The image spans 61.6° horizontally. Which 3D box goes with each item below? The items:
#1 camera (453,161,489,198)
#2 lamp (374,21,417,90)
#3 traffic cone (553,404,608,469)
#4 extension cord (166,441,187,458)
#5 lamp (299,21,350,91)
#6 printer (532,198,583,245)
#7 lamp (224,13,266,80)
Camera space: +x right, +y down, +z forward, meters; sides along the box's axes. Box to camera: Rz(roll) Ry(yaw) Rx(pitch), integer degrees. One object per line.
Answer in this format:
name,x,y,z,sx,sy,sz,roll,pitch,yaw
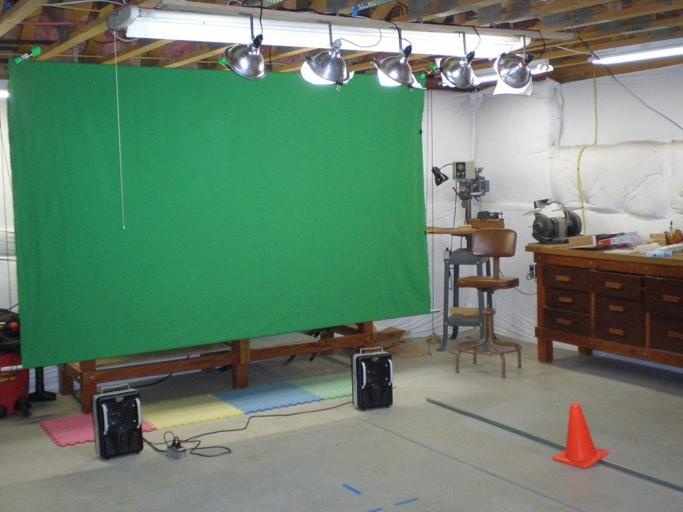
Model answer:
camera,1.790,-1.089,8.075,0.521,0.416,0.311,-2,11,-7
lamp,0.509,-1.709,4.901,0.433,0.509,0.394,7,11,14
traffic cone,1.892,1.358,4.497,0.438,0.459,0.307,-9,11,-44
extension cord,-1.354,1.566,4.723,0.154,0.114,0.271,-4,8,-16
lamp,-0.146,-1.651,4.847,0.552,0.513,0.514,5,10,-7
printer,2.625,-0.403,7.199,0.810,0.651,0.580,-3,4,-33
lamp,-0.762,-1.657,4.539,0.340,0.492,0.392,-1,8,4
